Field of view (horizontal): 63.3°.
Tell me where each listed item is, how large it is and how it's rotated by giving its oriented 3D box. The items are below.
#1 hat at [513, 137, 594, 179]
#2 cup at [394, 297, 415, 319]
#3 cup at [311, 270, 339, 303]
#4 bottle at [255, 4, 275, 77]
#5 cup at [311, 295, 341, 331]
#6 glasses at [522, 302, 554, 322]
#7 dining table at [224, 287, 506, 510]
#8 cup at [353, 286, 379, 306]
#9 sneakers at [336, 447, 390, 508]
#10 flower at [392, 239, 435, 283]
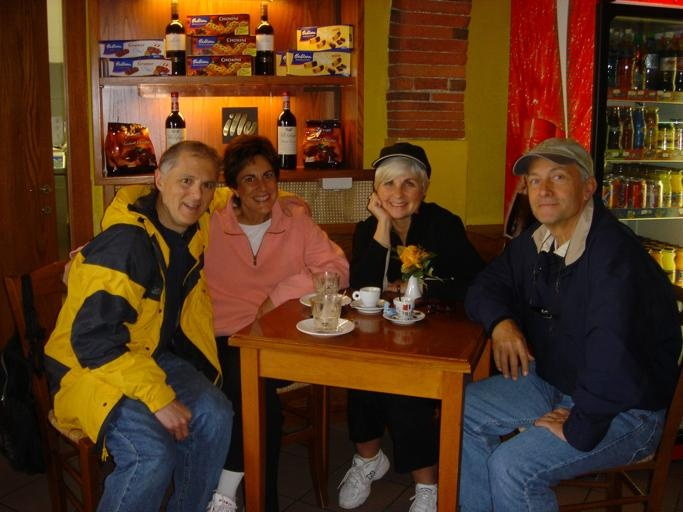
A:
[{"bbox_3d":[0.790,-0.390,2.150,0.211,0.158,0.286,-1,-6,9],"label":"hat"},{"bbox_3d":[0.228,0.187,2.010,0.072,0.063,0.067,-3,7,0],"label":"cup"},{"bbox_3d":[-0.060,0.101,2.013,0.084,0.101,0.091,0,-5,0],"label":"cup"},{"bbox_3d":[-0.460,-1.259,3.218,0.124,0.406,0.108,-4,12,-10],"label":"bottle"},{"bbox_3d":[-0.057,0.203,1.968,0.118,0.129,0.117,2,7,0],"label":"cup"},{"bbox_3d":[0.741,0.209,2.080,0.077,0.036,0.135,23,1,6],"label":"glasses"},{"bbox_3d":[0.117,0.372,2.126,0.712,0.737,0.704,4,17,17],"label":"dining table"},{"bbox_3d":[0.098,0.140,2.161,0.087,0.059,0.070,2,6,12],"label":"cup"},{"bbox_3d":[0.089,1.018,2.598,0.121,0.146,0.313,-1,39,45],"label":"sneakers"},{"bbox_3d":[0.295,0.027,2.238,0.131,0.156,0.148,-2,12,1],"label":"flower"}]
